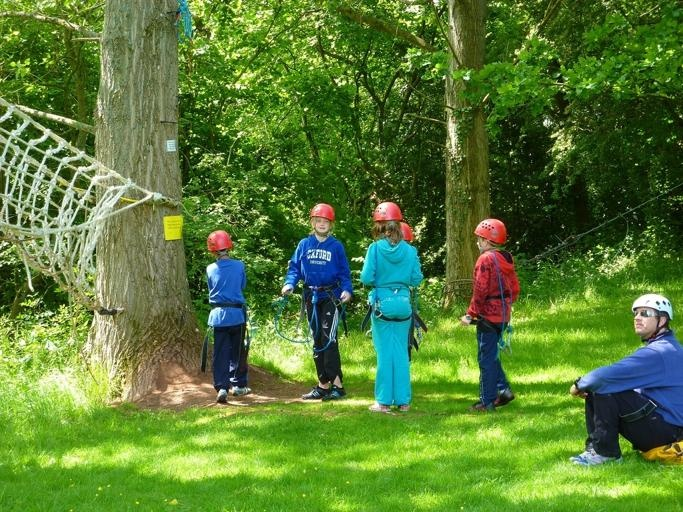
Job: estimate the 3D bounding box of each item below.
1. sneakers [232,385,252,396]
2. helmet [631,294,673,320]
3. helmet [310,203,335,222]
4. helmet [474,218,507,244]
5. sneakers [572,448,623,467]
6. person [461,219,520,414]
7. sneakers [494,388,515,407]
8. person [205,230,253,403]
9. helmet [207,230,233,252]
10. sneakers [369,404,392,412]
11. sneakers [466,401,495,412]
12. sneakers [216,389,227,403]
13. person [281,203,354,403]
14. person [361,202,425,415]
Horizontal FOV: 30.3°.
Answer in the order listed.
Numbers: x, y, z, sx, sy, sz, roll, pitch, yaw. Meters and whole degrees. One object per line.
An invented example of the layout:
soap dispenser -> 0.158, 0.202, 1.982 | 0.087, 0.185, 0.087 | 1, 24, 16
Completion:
sneakers -> -1.449, 1.982, 18.322 | 0.287, 0.121, 0.110 | -1, 2, -32
helmet -> 3.858, 0.657, 15.695 | 0.438, 0.266, 0.321 | -3, -3, 2
helmet -> -0.267, -0.614, 18.115 | 0.302, 0.298, 0.575 | -2, -5, 3
helmet -> 2.058, -0.338, 17.587 | 0.410, 0.319, 0.313 | 2, 10, 5
sneakers -> 3.162, 2.523, 15.656 | 0.615, 0.263, 0.225 | 3, -9, 8
person -> 2.065, 0.821, 17.492 | 0.774, 2.649, 0.414 | -1, -4, -8
sneakers -> 2.252, 1.994, 17.533 | 0.139, 0.160, 0.373 | -20, -8, -35
person -> -1.660, 0.886, 18.252 | 0.413, 2.515, 0.677 | -4, -5, 41
helmet -> -1.819, -0.192, 18.370 | 0.272, 0.196, 0.370 | -14, 21, -28
sneakers -> 0.517, 2.102, 17.409 | 0.245, 0.105, 0.121 | 4, -4, 12
sneakers -> 1.934, 2.096, 17.414 | 0.312, 0.133, 0.136 | 3, -4, 11
sneakers -> -1.689, 2.010, 17.857 | 0.092, 0.103, 0.238 | 3, -38, -8
person -> -0.305, 0.689, 18.009 | 0.877, 2.781, 0.507 | -1, -4, -2
person -> 0.686, 0.717, 17.471 | 0.792, 2.908, 0.291 | -1, -4, 3
